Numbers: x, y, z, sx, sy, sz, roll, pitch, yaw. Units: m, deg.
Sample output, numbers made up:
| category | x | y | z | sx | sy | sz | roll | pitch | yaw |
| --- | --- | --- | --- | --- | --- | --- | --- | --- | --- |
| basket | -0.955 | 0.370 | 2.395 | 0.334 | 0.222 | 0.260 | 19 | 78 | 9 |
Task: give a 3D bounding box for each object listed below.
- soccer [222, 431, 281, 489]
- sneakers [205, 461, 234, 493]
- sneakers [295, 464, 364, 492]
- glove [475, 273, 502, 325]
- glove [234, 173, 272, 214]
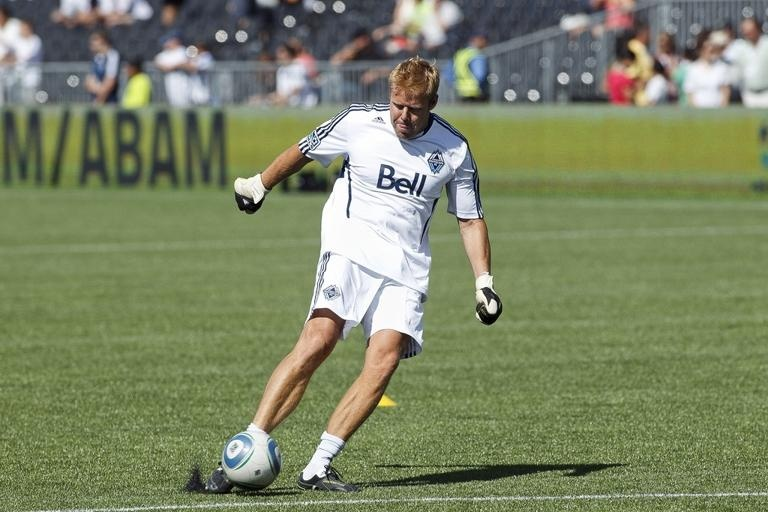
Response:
| category | x | y | z | sx | sy | sz | roll | pitch | yaw |
| --- | --- | --- | --- | --- | --- | --- | --- | --- | --- |
| soccer | -1.140 | 1.782 | 13.436 | 0.474 | 0.467 | 0.465 | 10 | -22 | -39 |
| sneakers | -1.420 | 1.930 | 13.552 | 0.203 | 0.232 | 0.262 | -1 | -3 | 3 |
| sneakers | -0.473 | 1.909 | 13.569 | 0.563 | 0.250 | 0.215 | 2 | 1 | 0 |
| glove | 0.948 | 0.320 | 13.884 | 0.325 | 0.226 | 0.544 | -4 | 51 | 9 |
| glove | -1.187 | -0.554 | 13.927 | 0.208 | 0.195 | 0.466 | -40 | 20 | 17 |
